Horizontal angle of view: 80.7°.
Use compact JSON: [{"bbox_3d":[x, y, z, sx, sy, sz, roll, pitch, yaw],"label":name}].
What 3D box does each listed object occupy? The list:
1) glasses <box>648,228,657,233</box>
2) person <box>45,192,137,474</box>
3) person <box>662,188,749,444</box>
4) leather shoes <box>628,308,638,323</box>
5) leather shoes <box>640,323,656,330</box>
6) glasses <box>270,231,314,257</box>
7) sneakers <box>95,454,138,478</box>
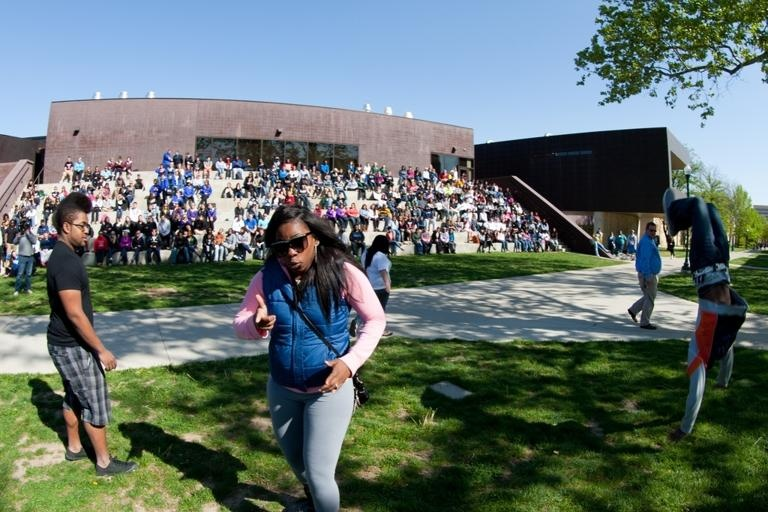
[{"bbox_3d":[5.742,-0.552,9.629,0.127,0.133,0.147,-4,2,-35],"label":"glasses"},{"bbox_3d":[-3.234,0.857,4.844,0.607,2.990,0.847,-9,15,-37],"label":"person"},{"bbox_3d":[4.034,0.711,5.739,0.877,2.843,1.367,6,13,23],"label":"person"},{"bbox_3d":[5.782,1.367,10.460,0.163,0.371,0.129,-27,27,-2],"label":"leather shoes"},{"bbox_3d":[5.827,1.524,9.927,0.359,0.146,0.150,0,4,0],"label":"leather shoes"},{"bbox_3d":[-0.798,-0.095,3.707,0.360,0.201,0.137,3,13,9],"label":"glasses"},{"bbox_3d":[-2.923,2.288,4.967,0.413,0.180,0.158,3,2,-17],"label":"sneakers"}]
